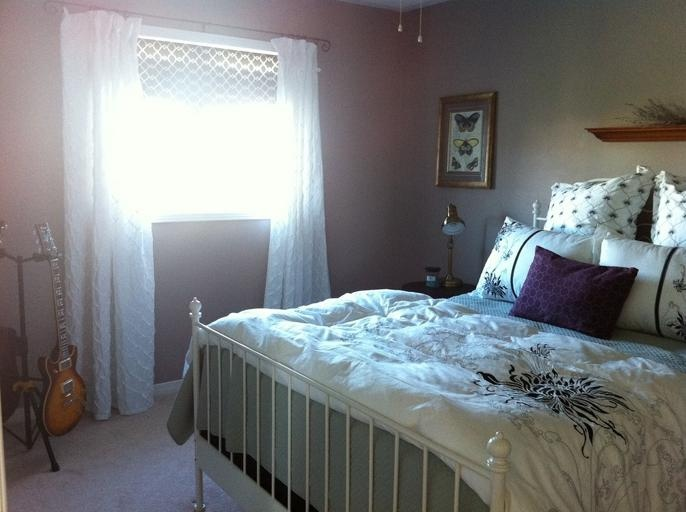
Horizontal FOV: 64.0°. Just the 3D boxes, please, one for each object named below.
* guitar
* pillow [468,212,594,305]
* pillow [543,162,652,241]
[{"bbox_3d":[-1.633,0.407,3.137,0.210,1.100,0.520,-5,15,-27],"label":"guitar"},{"bbox_3d":[1.100,0.061,3.254,0.186,0.452,0.605,22,-2,-26],"label":"pillow"},{"bbox_3d":[1.479,-0.299,3.217,0.458,0.448,0.140,9,-9,46],"label":"pillow"}]
